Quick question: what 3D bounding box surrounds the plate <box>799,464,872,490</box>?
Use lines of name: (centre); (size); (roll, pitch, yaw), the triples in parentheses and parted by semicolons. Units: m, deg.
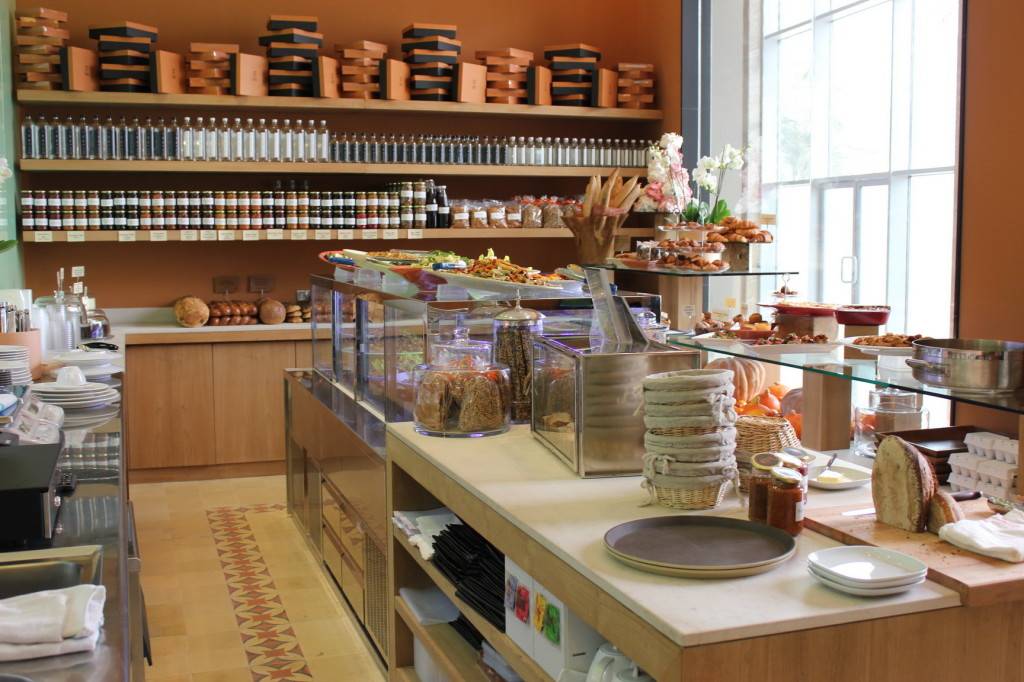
plate: (0.932, 0.383, 2.297); (0.137, 0.016, 0.076); (-4, 6, -12)

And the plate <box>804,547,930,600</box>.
plate: (0.765, 0.499, 1.769); (0.192, 0.056, 0.181); (-8, 12, -37)

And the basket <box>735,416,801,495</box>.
basket: (0.716, 0.331, 2.364); (0.220, 0.128, 0.219); (-1, 4, 4)

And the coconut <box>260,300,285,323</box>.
coconut: (-1.774, -0.221, 6.011); (0.224, 0.145, 0.176); (4, 7, -15)

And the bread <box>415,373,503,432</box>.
bread: (-0.173, 0.213, 2.838); (0.291, 0.136, 0.239); (0, 1, 5)

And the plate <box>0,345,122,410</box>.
plate: (-1.742, 0.178, 3.151); (0.445, 0.130, 0.376); (0, 6, -15)

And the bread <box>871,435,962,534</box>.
bread: (0.984, 0.346, 1.990); (0.211, 0.205, 0.067); (11, 18, 41)
